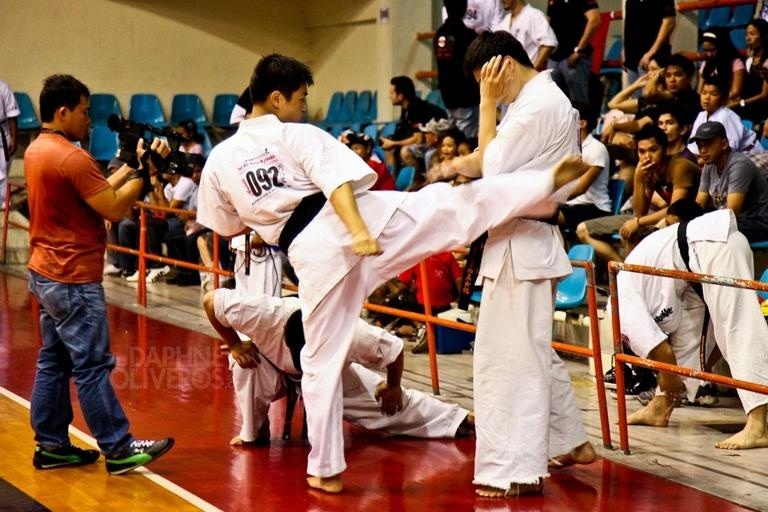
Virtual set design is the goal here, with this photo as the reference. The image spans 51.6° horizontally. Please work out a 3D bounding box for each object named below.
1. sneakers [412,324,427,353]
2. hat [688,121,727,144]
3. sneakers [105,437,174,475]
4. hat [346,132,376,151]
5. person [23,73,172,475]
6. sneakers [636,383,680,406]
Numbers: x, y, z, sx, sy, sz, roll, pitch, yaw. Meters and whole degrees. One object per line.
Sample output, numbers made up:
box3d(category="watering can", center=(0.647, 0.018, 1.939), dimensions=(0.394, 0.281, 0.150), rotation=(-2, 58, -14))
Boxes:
box3d(category="sneakers", center=(0.331, 0.701, 7.005), dimensions=(0.122, 0.297, 0.102), rotation=(11, -21, 0))
box3d(category="hat", center=(2.569, -0.968, 6.218), dimensions=(0.219, 0.111, 0.152), rotation=(1, 0, -21))
box3d(category="sneakers", center=(-1.407, 1.130, 4.554), dimensions=(0.425, 0.180, 0.153), rotation=(-21, -16, 10))
box3d(category="hat", center=(-0.216, -1.253, 8.704), dimensions=(0.350, 0.111, 0.213), rotation=(17, -8, -35))
box3d(category="person", center=(-1.710, 0.089, 4.623), dimensions=(0.856, 2.263, 0.574), rotation=(3, 11, 13))
box3d(category="sneakers", center=(1.981, 1.034, 5.765), dimensions=(0.320, 0.143, 0.113), rotation=(17, 8, 17))
